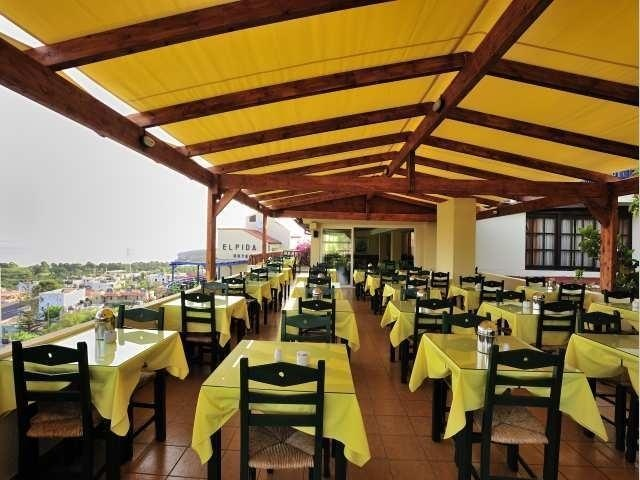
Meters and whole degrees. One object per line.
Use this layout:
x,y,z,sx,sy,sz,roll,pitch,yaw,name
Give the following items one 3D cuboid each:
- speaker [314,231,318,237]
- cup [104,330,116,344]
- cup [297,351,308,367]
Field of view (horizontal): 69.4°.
-0.112,-0.184,14.680,0.178,0.237,0.067,0,-3,-4,speaker
-1.864,0.865,4.110,0.134,0.097,0.118,0,2,-15,cup
-0.141,0.974,3.720,0.126,0.074,0.107,1,-11,-6,cup
